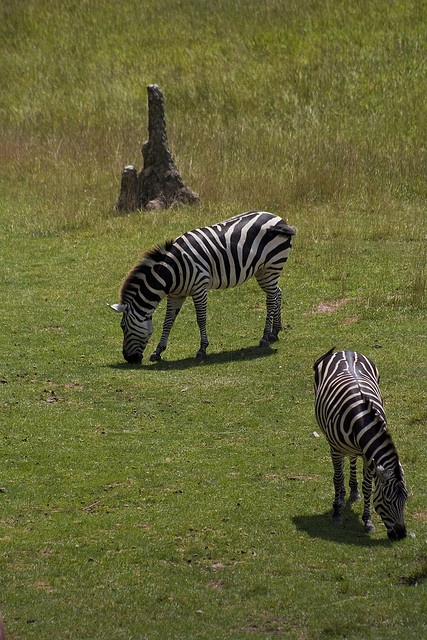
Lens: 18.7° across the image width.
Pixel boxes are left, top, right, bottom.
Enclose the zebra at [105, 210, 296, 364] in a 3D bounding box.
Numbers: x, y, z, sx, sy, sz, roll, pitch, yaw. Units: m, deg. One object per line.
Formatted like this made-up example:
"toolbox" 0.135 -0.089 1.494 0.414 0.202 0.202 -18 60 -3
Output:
"zebra" -0.175 -0.398 21.490 3.111 2.615 1.041 -22 21 -29
